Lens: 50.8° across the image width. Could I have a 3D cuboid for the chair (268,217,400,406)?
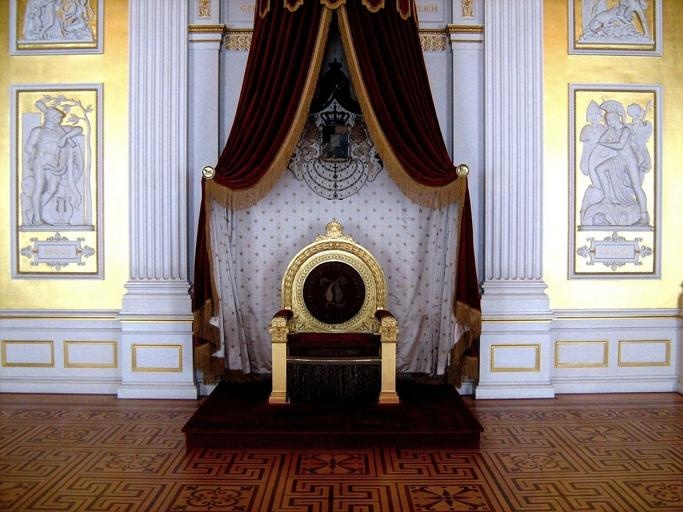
[{"bbox_3d":[-0.039,0.480,6.183,1.128,1.299,0.771,1,9,4],"label":"chair"}]
